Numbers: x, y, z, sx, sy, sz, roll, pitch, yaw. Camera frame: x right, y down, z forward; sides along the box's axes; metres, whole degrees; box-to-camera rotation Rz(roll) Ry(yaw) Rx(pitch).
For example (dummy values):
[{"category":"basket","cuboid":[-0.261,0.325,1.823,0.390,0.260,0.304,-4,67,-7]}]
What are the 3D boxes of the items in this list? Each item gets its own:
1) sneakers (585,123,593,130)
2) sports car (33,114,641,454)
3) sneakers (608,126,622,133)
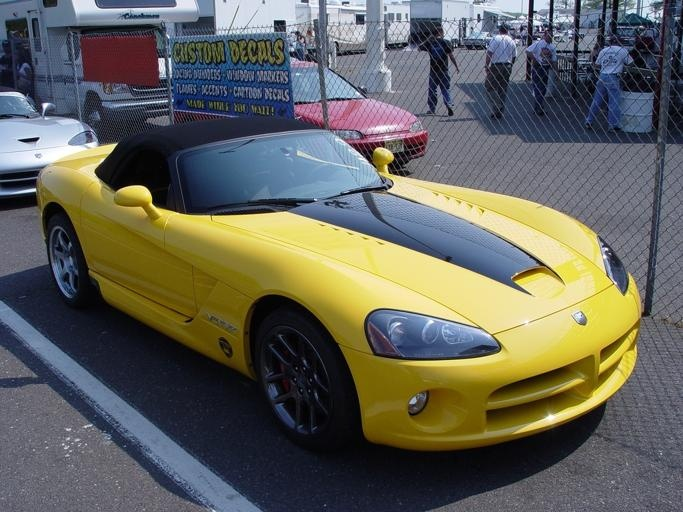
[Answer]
[{"category":"sneakers","cuboid":[5.663,-2.991,12.704,0.143,0.080,0.250,-2,25,0]},{"category":"sports car","cuboid":[-0.414,-0.065,3.925,4.108,1.314,2.150,23,31,36]},{"category":"sneakers","cuboid":[6.040,-2.821,12.278,0.275,0.137,0.109,1,31,2]}]
